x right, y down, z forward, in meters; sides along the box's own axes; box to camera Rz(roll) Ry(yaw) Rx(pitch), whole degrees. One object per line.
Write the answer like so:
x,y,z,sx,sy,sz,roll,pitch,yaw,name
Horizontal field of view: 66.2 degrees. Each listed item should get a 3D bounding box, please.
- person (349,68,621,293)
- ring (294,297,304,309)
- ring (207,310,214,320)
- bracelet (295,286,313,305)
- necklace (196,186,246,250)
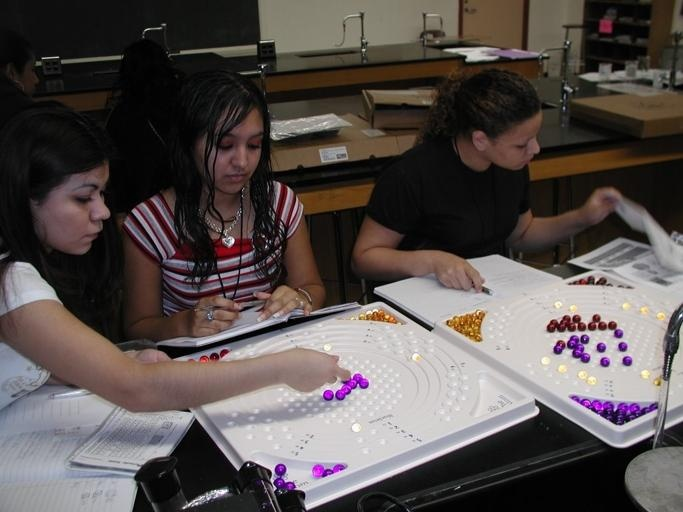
0.525,-0.291,2.054,0.889,0.830,0.575,-14,23,-30,person
-0.129,0.146,1.611,0.025,0.026,0.019,-9,-1,-23,ring
-0.391,0.177,1.569,0.019,0.028,0.008,-7,-22,21,ring
-0.124,0.137,1.841,0.017,0.056,0.057,-37,23,3,bracelet
-0.436,-0.154,1.914,0.156,0.220,0.064,-26,28,-24,necklace
